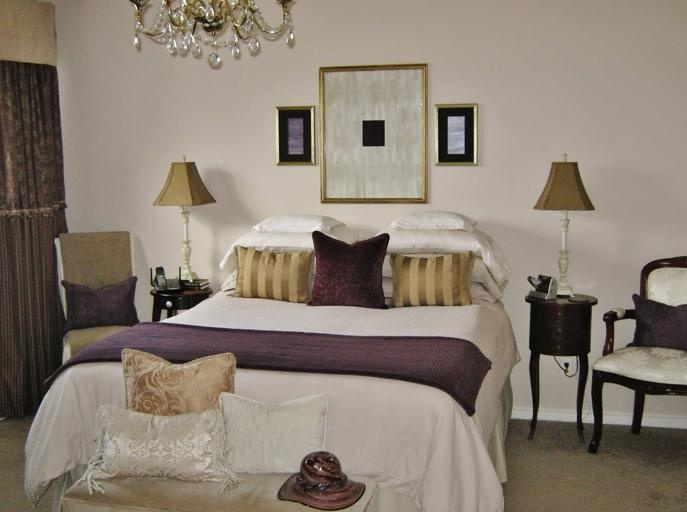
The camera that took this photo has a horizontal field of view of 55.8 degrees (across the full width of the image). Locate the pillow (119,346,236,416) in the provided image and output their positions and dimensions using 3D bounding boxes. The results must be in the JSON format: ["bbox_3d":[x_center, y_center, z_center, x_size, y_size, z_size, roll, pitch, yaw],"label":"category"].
[{"bbox_3d":[-0.863,0.656,3.340,0.544,0.437,0.188,2,20,-13],"label":"pillow"}]

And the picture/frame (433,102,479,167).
[{"bbox_3d":[0.897,-0.950,5.153,0.350,0.557,0.036,1,-17,7],"label":"picture/frame"}]

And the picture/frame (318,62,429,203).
[{"bbox_3d":[0.282,-1.037,5.262,0.929,1.335,0.058,2,10,12],"label":"picture/frame"}]

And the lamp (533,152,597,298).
[{"bbox_3d":[1.652,-0.242,4.882,0.404,1.029,0.494,4,13,20],"label":"lamp"}]

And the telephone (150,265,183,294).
[{"bbox_3d":[-1.450,0.163,5.310,0.204,0.132,0.279,-1,7,-16],"label":"telephone"}]

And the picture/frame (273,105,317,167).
[{"bbox_3d":[-0.388,-1.015,5.377,0.405,0.644,0.062,1,6,9],"label":"picture/frame"}]

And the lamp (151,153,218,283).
[{"bbox_3d":[-1.310,-0.317,5.420,0.484,0.977,0.473,-3,12,-14],"label":"lamp"}]
